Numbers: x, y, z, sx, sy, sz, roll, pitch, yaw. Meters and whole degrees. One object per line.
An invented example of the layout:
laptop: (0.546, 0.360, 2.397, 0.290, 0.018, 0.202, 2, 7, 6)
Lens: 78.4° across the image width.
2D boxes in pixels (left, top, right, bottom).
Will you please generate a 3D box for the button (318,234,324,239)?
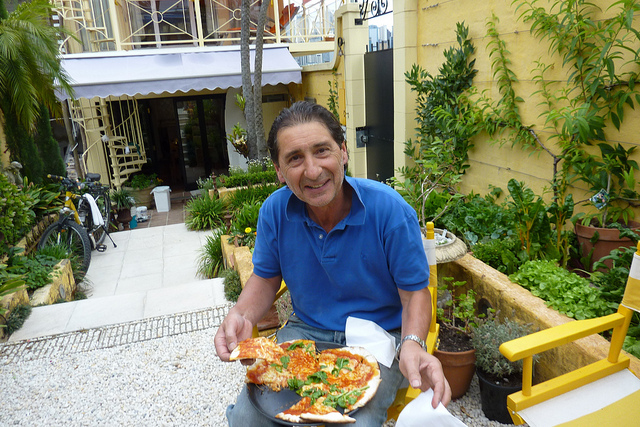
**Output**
button: (0.005, 0.172, 2.892, 0.032, 0.038, 0.008, -4, -4, 9)

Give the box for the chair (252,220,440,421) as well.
chair: (0.209, 0.757, 2.757, 1.002, 1.741, 1.001, 7, 14, 31)

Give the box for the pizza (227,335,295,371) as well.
pizza: (-0.396, 0.954, 2.612, 0.431, 0.218, 0.177, -8, 18, -8)

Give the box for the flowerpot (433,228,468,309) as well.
flowerpot: (1.348, 0.587, 4.101, 0.309, 0.666, 0.709, 1, 19, 17)

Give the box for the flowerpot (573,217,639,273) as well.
flowerpot: (2.766, 0.255, 3.819, 0.456, 0.419, 0.457, -7, 10, -39)

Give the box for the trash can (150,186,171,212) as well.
trash can: (-4.717, -0.414, 11.883, 0.600, 0.811, 0.634, -4, 16, -3)

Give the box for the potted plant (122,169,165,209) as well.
potted plant: (-5.551, -0.692, 12.436, 1.092, 1.184, 1.130, -9, 20, -24)

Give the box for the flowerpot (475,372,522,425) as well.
flowerpot: (1.531, 1.557, 3.410, 0.335, 0.286, 0.335, 5, 8, 39)

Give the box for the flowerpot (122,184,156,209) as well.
flowerpot: (-5.672, -0.469, 12.261, 0.749, 0.654, 0.803, -5, 15, -15)

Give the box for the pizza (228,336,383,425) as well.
pizza: (-0.050, 1.085, 2.587, 0.635, 0.205, 0.592, -13, 27, -23)
